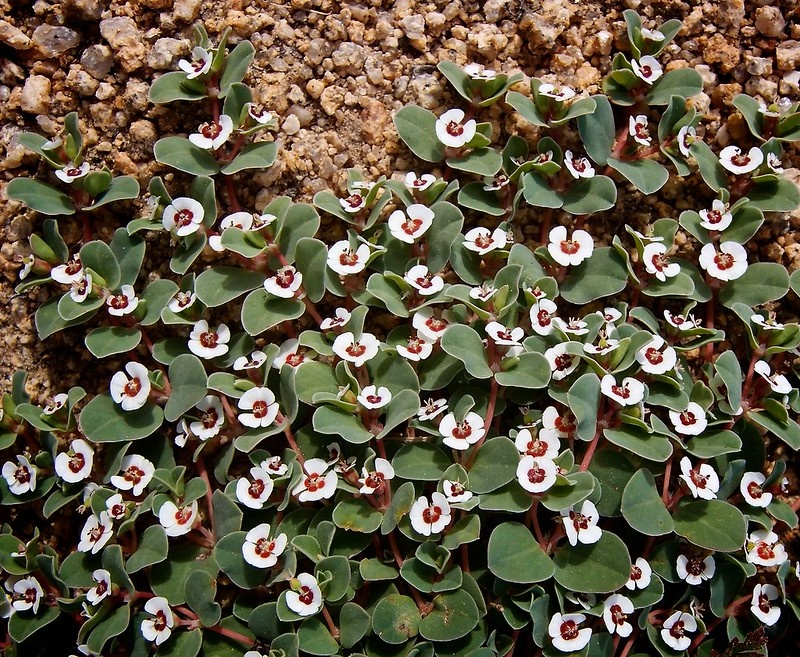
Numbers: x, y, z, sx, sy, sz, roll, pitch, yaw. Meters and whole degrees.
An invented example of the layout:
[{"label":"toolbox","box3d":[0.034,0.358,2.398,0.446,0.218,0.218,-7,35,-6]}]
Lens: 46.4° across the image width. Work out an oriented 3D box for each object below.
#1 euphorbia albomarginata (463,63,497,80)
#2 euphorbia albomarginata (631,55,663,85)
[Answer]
[{"label":"euphorbia albomarginata","box3d":[0.296,-0.971,3.522,0.093,0.051,0.097,0,36,-26]},{"label":"euphorbia albomarginata","box3d":[0.938,-0.977,3.538,0.111,0.051,0.124,-14,85,-5]}]
